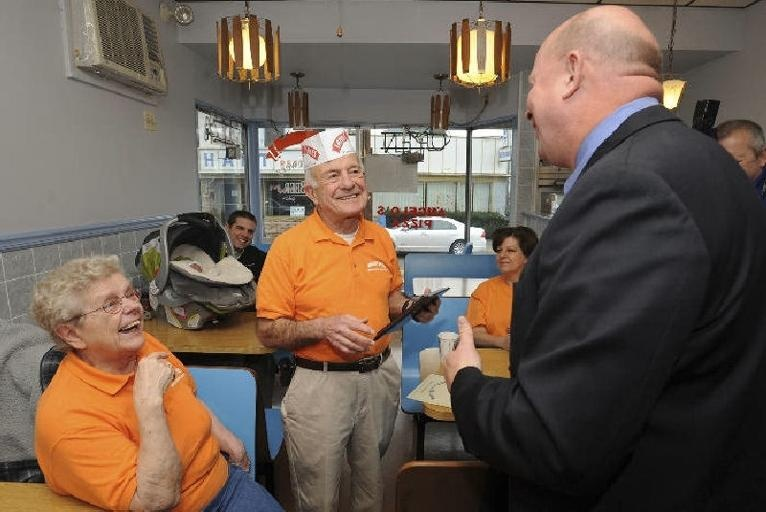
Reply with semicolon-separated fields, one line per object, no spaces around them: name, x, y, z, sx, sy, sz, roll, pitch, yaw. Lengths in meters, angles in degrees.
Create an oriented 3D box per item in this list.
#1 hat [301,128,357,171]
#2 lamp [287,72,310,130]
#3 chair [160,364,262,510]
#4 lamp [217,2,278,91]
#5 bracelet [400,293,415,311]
hat;-0.263;-0.500;2.812;0.206;0.136;0.207;-20;7;-15
lamp;-1.004;-1.836;7.097;0.225;0.627;0.995;-4;11;-8
chair;-0.702;0.750;2.695;0.433;0.444;0.420;0;-7;-4
lamp;-1.024;-1.648;4.573;0.423;0.614;1.055;-4;11;-12
bracelet;0.122;0.223;2.886;0.026;0.071;0.055;35;7;-9
